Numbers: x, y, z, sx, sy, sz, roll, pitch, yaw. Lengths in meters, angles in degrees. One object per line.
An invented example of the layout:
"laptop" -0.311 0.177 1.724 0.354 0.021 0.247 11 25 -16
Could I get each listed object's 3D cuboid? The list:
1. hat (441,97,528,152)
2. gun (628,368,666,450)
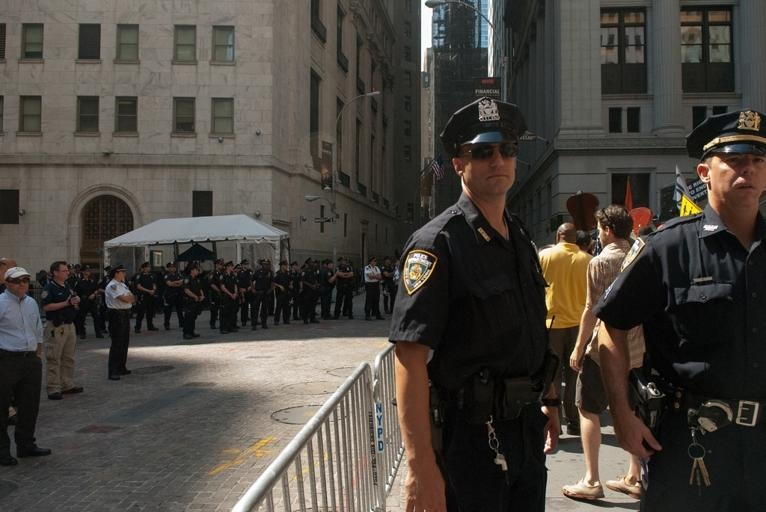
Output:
"hat" 1.782 -2.394 17.094 1.235 0.499 1.143 -2 -23 -10
"gun" 4.580 2.659 16.859 0.637 1.324 0.715 -1 -5 0
